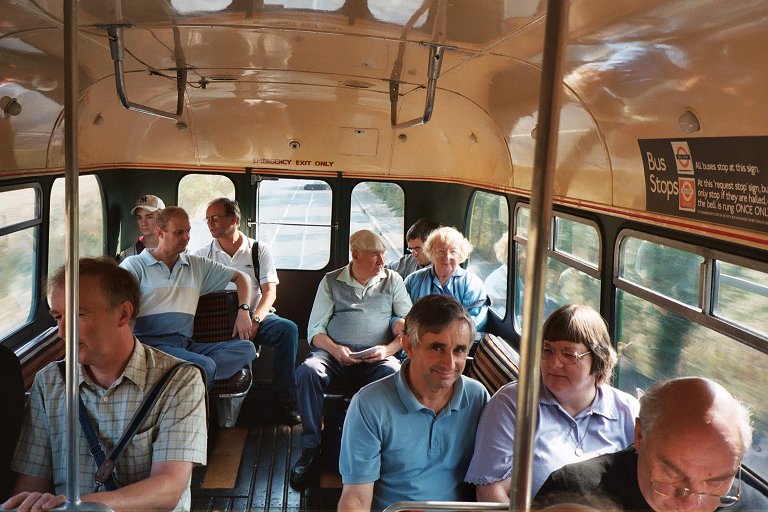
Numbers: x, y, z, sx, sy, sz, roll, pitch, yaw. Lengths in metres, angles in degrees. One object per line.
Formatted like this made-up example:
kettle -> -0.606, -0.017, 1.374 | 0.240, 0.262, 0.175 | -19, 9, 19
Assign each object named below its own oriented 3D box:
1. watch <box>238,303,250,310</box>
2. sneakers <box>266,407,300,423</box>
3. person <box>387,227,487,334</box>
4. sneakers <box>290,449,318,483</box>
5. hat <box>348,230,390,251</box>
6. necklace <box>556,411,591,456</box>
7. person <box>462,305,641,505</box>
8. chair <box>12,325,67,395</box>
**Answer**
watch -> -1.590, 0.575, 6.650 | 0.067, 0.072, 0.068 | 1, -22, -23
sneakers -> -1.139, 1.816, 6.748 | 0.441, 0.184, 0.150 | -2, 3, 23
person -> 0.657, 0.345, 6.770 | 0.981, 1.393, 0.873 | 5, 1, 13
sneakers -> -0.770, 2.026, 5.676 | 0.277, 0.270, 0.229 | 1, 3, -7
hat -> -0.195, -0.154, 6.226 | 0.278, 0.120, 0.242 | 4, 1, 39
necklace -> 1.176, 1.116, 3.686 | 0.267, 0.348, 0.046 | 0, -6, -8
person -> 1.044, 0.897, 3.508 | 1.247, 1.189, 0.710 | 5, -3, 5
chair -> -2.770, 0.821, 4.669 | 0.123, 0.225, 0.914 | -8, 12, -9
